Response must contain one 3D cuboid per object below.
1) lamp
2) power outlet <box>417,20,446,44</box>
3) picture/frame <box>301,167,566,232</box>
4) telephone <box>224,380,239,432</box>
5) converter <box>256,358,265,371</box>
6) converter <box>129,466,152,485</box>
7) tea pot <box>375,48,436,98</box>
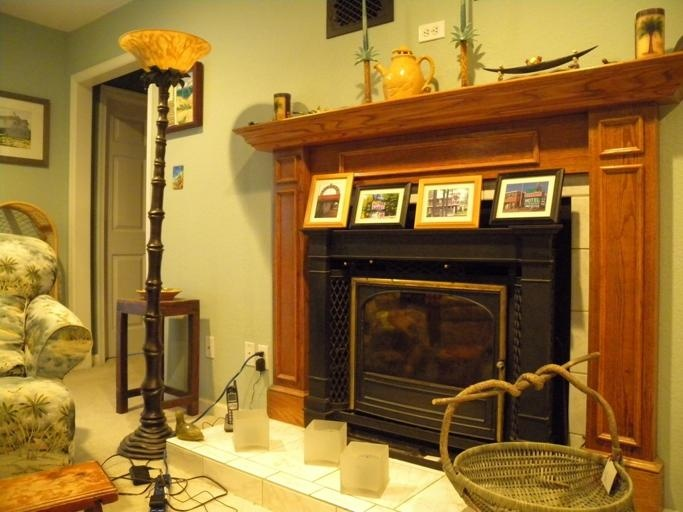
[{"bbox_3d":[-1.044,-0.034,3.017,0.402,2.283,0.506,1,1,-42],"label":"lamp"},{"bbox_3d":[0.460,-1.128,2.762,0.152,0.099,0.022,-1,-5,36],"label":"power outlet"},{"bbox_3d":[0.382,-0.278,2.682,1.292,0.243,0.125,2,1,29],"label":"picture/frame"},{"bbox_3d":[-0.595,0.810,2.977,0.120,0.248,0.107,-1,2,-1],"label":"telephone"},{"bbox_3d":[-0.495,0.661,3.336,0.058,0.056,0.024,2,1,-5],"label":"converter"},{"bbox_3d":[-1.018,1.098,2.751,0.073,0.023,0.099,6,6,-19],"label":"converter"},{"bbox_3d":[0.341,-0.910,2.817,0.334,0.288,0.239,7,12,28],"label":"tea pot"}]
